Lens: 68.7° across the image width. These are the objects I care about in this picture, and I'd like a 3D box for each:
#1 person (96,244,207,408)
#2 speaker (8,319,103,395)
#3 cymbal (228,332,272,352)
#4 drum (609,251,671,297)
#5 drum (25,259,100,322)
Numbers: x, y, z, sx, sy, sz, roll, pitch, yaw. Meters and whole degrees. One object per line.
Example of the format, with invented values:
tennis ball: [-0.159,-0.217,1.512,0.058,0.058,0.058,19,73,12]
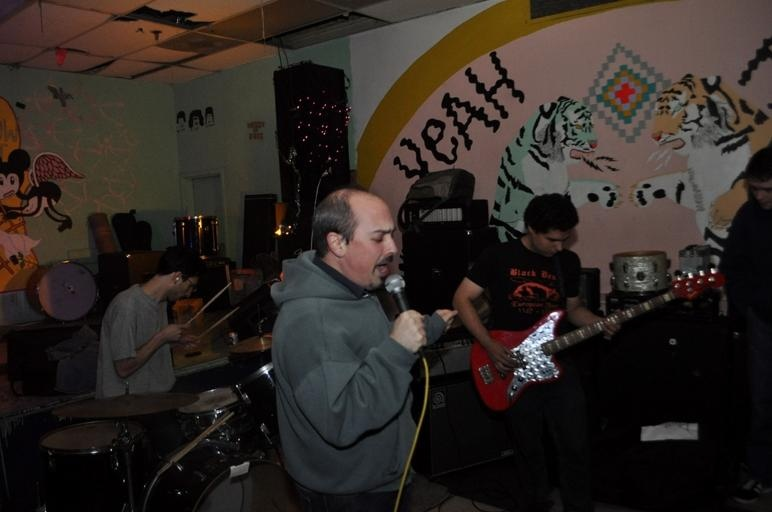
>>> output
person: [-1.986,0.622,4.839,0.778,1.810,0.910,3,11,-16]
speaker: [-2.974,0.955,5.246,0.956,0.712,0.537,-4,-22,1]
cymbal: [-1.192,0.777,4.984,0.350,0.103,0.448,1,2,-16]
drum: [2.012,0.112,4.473,0.461,0.271,0.476,-5,5,0]
drum: [-3.887,0.429,6.768,0.768,0.724,0.248,1,2,-17]
